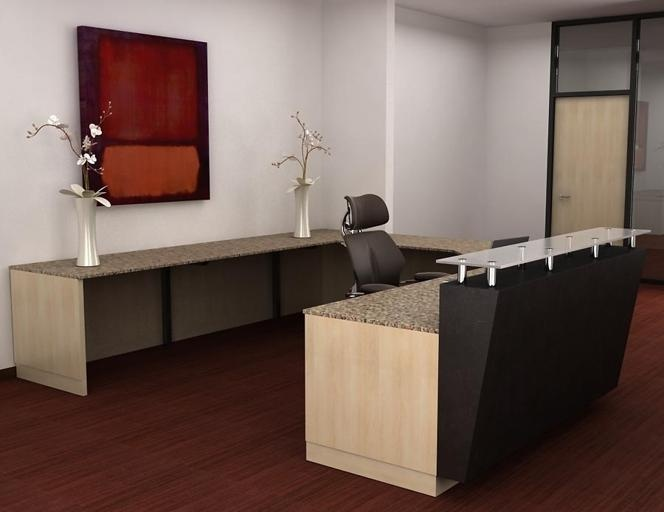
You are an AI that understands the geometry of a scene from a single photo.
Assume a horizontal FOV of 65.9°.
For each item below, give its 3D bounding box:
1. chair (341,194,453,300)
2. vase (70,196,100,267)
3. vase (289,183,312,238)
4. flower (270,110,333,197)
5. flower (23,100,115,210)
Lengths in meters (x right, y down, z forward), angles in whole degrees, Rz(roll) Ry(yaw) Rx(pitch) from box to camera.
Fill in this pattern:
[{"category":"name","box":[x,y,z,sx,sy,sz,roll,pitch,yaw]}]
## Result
[{"category":"chair","box":[0.350,-0.103,3.951,0.652,0.740,0.582,-6,8,-41]},{"category":"vase","box":[-1.809,-0.175,3.755,0.140,0.491,0.216,-4,7,-27]},{"category":"vase","box":[-0.314,-0.479,5.148,0.200,0.590,0.310,-1,6,-3]},{"category":"flower","box":[-0.304,-1.086,5.504,0.605,0.857,0.496,-4,21,-15]},{"category":"flower","box":[-1.962,-0.770,3.987,0.752,0.883,0.621,-4,8,-33]}]
